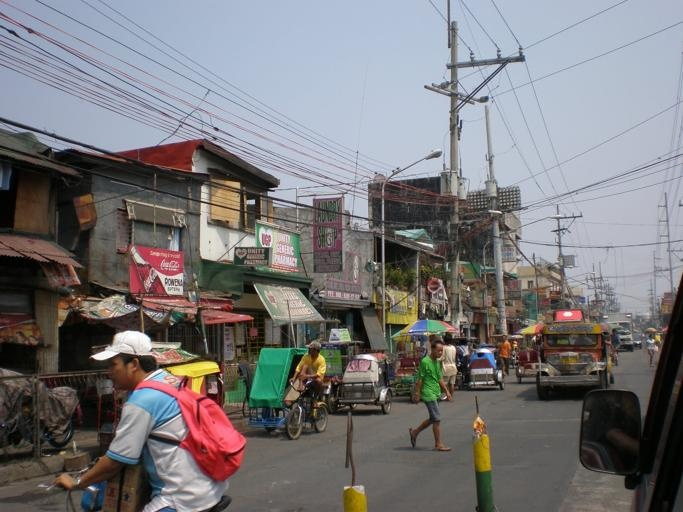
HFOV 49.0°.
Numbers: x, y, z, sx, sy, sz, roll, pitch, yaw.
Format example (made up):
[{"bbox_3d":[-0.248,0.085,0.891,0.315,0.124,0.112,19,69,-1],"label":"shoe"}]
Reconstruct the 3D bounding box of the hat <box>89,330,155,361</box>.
[{"bbox_3d":[-2.091,0.892,7.264,0.441,0.244,0.305,1,-12,-4],"label":"hat"}]

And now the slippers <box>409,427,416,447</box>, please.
[{"bbox_3d":[1.348,3.407,13.938,0.153,0.420,0.138,1,-5,-7],"label":"slippers"}]

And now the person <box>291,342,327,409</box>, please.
[{"bbox_3d":[-0.743,2.656,17.095,0.818,1.383,0.673,0,-6,-14],"label":"person"}]

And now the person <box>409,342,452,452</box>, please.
[{"bbox_3d":[1.783,2.689,14.423,0.946,1.968,0.726,-2,-3,39],"label":"person"}]

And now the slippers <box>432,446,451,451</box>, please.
[{"bbox_3d":[1.859,3.520,13.601,0.314,0.081,0.282,-1,-7,-6],"label":"slippers"}]

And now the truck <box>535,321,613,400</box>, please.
[{"bbox_3d":[6.823,3.248,22.277,2.112,2.402,4.021,-2,-4,23],"label":"truck"}]
